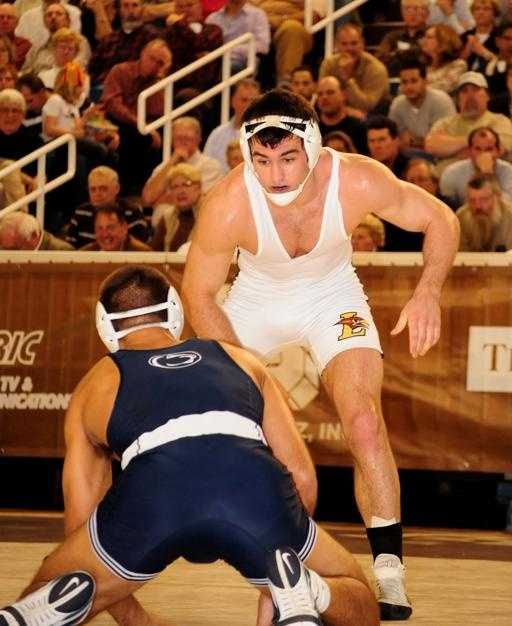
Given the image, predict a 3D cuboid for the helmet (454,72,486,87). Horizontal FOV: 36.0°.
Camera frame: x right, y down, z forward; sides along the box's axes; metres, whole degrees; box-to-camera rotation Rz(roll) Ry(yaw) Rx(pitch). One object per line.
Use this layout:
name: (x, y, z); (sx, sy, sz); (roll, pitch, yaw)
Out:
helmet: (1.520, -1.629, 5.547); (0.227, 0.128, 0.216); (6, 14, 23)

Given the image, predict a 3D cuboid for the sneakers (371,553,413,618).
sneakers: (0.407, 0.808, 2.329); (0.070, 0.079, 0.197); (-3, 8, 4)
